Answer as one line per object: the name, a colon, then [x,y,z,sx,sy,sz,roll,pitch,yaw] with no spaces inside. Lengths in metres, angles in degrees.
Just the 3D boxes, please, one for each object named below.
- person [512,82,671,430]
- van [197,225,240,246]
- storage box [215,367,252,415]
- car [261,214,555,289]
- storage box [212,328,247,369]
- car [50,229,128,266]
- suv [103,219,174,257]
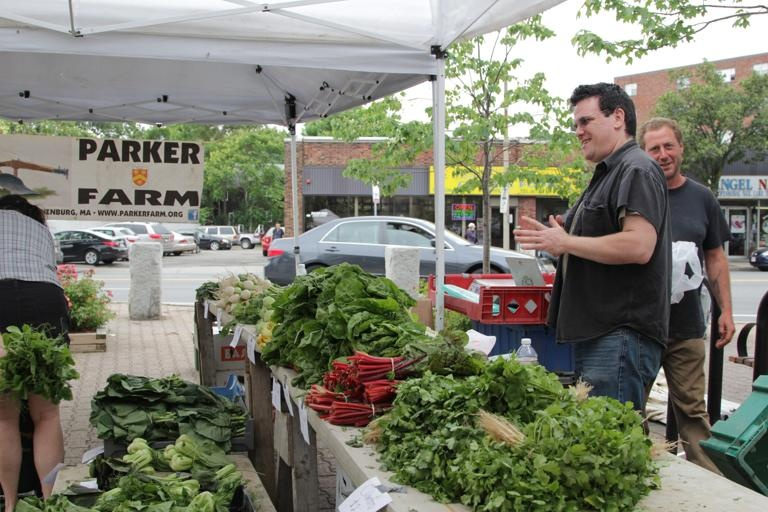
person: [1.412,0.016,4.976,1.001,2.496,0.932,0,1,-1]
van: [-9.206,-1.154,39.594,1.923,0.759,1.032,2,1,-9]
storage box: [-1.382,1.214,6.421,0.368,0.239,0.582,0,-6,-9]
car: [0.435,0.056,14.195,5.363,1.673,2.045,1,5,14]
storage box: [-1.940,1.168,8.446,0.481,0.424,0.360,8,-12,-44]
car: [-11.490,-0.407,26.263,3.861,1.199,1.581,1,9,7]
suv: [-8.111,-0.572,22.974,3.227,1.143,1.521,1,-2,-10]
